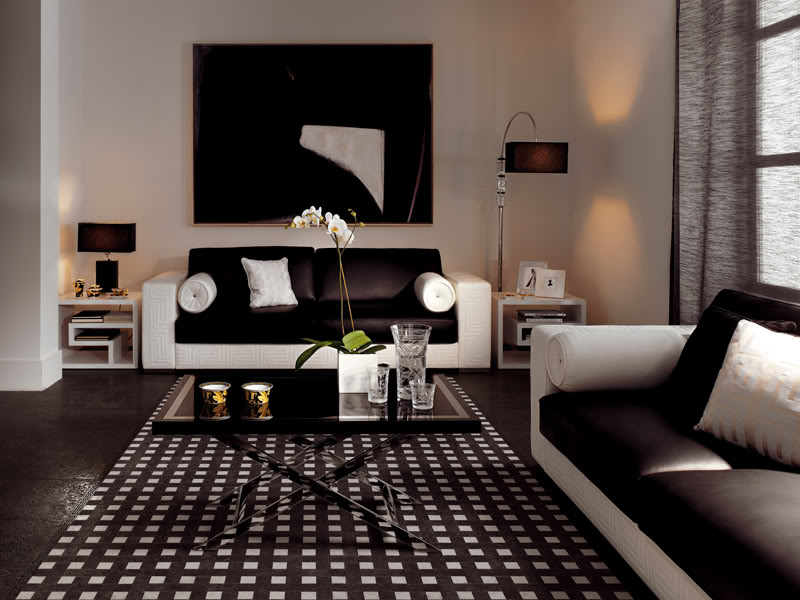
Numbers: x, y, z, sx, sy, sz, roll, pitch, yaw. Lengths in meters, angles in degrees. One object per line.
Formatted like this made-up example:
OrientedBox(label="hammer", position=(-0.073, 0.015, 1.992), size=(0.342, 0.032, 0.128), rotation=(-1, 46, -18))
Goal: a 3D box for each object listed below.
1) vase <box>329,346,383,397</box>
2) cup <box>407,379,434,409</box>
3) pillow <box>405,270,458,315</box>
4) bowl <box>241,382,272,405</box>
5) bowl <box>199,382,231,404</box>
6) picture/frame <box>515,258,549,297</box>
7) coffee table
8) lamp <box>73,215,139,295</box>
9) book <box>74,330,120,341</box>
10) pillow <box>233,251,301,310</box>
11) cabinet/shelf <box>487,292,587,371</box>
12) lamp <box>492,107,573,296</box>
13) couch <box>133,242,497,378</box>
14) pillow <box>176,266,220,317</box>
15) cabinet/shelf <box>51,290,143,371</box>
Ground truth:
OrientedBox(label="vase", position=(-0.203, 0.318, 2.846), size=(0.184, 0.175, 0.176), rotation=(0, 9, -3))
OrientedBox(label="cup", position=(0.085, 0.401, 2.703), size=(0.104, 0.094, 0.115), rotation=(-1, 3, -11))
OrientedBox(label="pillow", position=(0.247, -0.170, 5.079), size=(0.310, 0.313, 0.500), rotation=(-6, 14, -6))
OrientedBox(label="bowl", position=(-0.596, 0.391, 2.682), size=(0.089, 0.043, 0.087), rotation=(2, 6, 0))
OrientedBox(label="bowl", position=(-0.769, 0.387, 2.630), size=(0.100, 0.048, 0.098), rotation=(1, 6, 0))
OrientedBox(label="picture/frame", position=(1.130, -0.206, 5.546), size=(0.280, 0.293, 0.279), rotation=(0, 1, -2))
OrientedBox(label="coffee table", position=(-0.078, 0.842, 2.649), size=(1.016, 0.634, 1.513), rotation=(-3, -37, 23))
OrientedBox(label="lamp", position=(-2.567, -0.358, 5.434), size=(0.537, 0.539, 0.543), rotation=(-2, 0, -8))
OrientedBox(label="book", position=(-2.477, 0.277, 5.161), size=(0.318, 0.073, 0.193), rotation=(1, 9, 1))
OrientedBox(label="pillow", position=(-1.048, -0.137, 5.088), size=(0.134, 0.416, 0.444), rotation=(-25, -13, 38))
OrientedBox(label="cabinet/shelf", position=(1.060, 0.254, 5.594), size=(0.852, 0.690, 0.718), rotation=(5, 7, -26))
OrientedBox(label="lamp", position=(1.176, -0.898, 5.751), size=(0.592, 1.681, 0.646), rotation=(2, 9, 6))
OrientedBox(label="couch", position=(-0.685, 0.098, 5.310), size=(2.732, 1.043, 1.015), rotation=(-1, 8, -7))
OrientedBox(label="pillow", position=(-1.586, -0.048, 4.932), size=(0.301, 0.285, 0.220), rotation=(-2, 9, -16))
OrientedBox(label="cabinet/shelf", position=(-2.526, 0.245, 5.371), size=(0.590, 0.457, 0.795), rotation=(-1, 2, -8))
